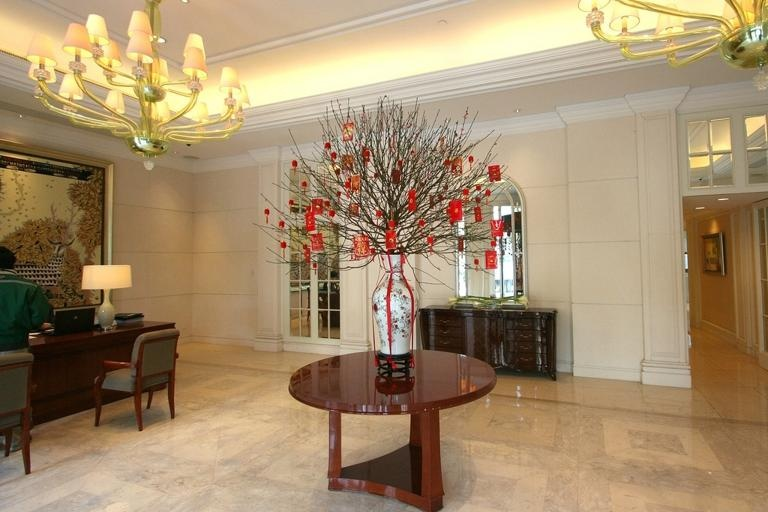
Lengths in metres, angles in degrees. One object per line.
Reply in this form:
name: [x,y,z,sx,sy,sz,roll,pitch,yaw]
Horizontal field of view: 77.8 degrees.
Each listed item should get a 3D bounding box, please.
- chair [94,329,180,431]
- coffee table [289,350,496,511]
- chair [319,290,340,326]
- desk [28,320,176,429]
chair: [-3.273,1.620,6.363,0.841,1.262,0.739,2,14,16]
coffee table: [-0.004,1.754,4.946,1.817,0.913,1.669,-1,-8,-3]
chair: [-1.081,1.036,9.421,0.461,0.737,0.301,1,14,10]
desk: [-4.222,1.602,6.609,1.078,0.907,2.005,3,4,31]
